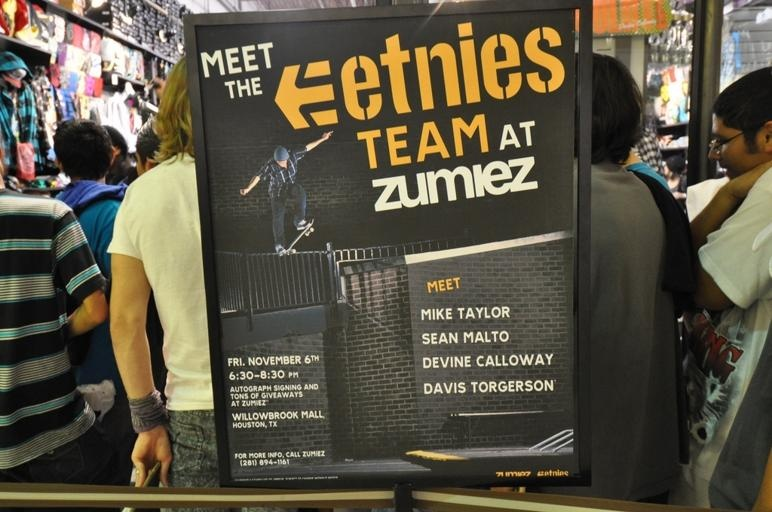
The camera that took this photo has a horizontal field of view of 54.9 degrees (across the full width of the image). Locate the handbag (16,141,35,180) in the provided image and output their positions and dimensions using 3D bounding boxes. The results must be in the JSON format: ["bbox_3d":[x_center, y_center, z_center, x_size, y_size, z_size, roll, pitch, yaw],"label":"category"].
[{"bbox_3d":[-1.996,-0.526,4.113,0.047,0.170,0.129,2,6,25],"label":"handbag"}]

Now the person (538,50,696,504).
[{"bbox_3d":[0.978,0.113,3.085,0.503,1.897,0.223,-1,3,-11],"label":"person"}]

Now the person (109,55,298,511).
[{"bbox_3d":[-0.905,0.081,2.961,0.426,1.708,0.148,1,3,19],"label":"person"}]

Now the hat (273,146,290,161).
[{"bbox_3d":[-0.358,-0.348,2.537,0.036,0.054,0.039,0,-2,4],"label":"hat"}]
